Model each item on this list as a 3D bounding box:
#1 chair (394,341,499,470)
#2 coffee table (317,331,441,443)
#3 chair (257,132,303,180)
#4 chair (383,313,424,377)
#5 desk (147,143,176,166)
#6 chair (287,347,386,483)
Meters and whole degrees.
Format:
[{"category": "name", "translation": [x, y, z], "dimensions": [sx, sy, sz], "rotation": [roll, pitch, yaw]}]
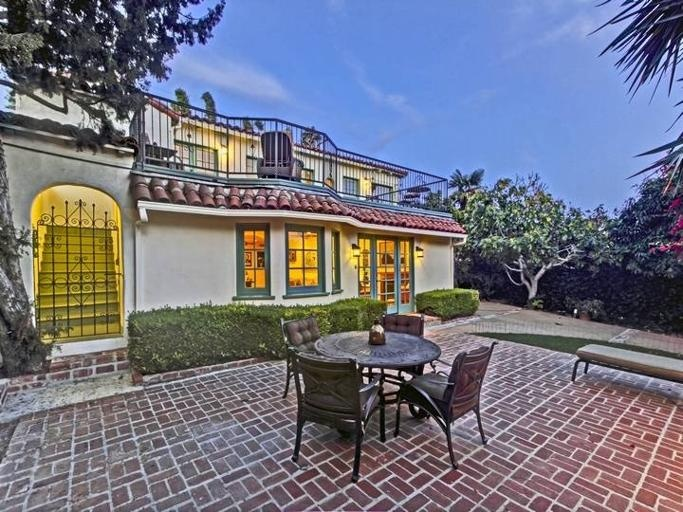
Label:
[{"category": "chair", "translation": [1.771, 2.332, 7.354], "dimensions": [1.323, 1.915, 1.486], "rotation": [-2, 8, -30]}, {"category": "coffee table", "translation": [0.654, 2.295, 7.790], "dimensions": [1.466, 0.797, 1.525], "rotation": [-1, 11, -4]}, {"category": "chair", "translation": [-1.600, -2.504, 11.561], "dimensions": [1.124, 1.438, 1.510], "rotation": [1, 0, 5]}, {"category": "chair", "translation": [1.149, 1.684, 8.719], "dimensions": [0.852, 1.282, 0.986], "rotation": [-5, -9, 34]}, {"category": "desk", "translation": [-4.766, -2.639, 11.048], "dimensions": [0.738, 0.595, 1.484], "rotation": [0, 6, -25]}, {"category": "chair", "translation": [-0.033, 2.381, 7.146], "dimensions": [1.628, 1.967, 1.603], "rotation": [-9, 13, -39]}]
